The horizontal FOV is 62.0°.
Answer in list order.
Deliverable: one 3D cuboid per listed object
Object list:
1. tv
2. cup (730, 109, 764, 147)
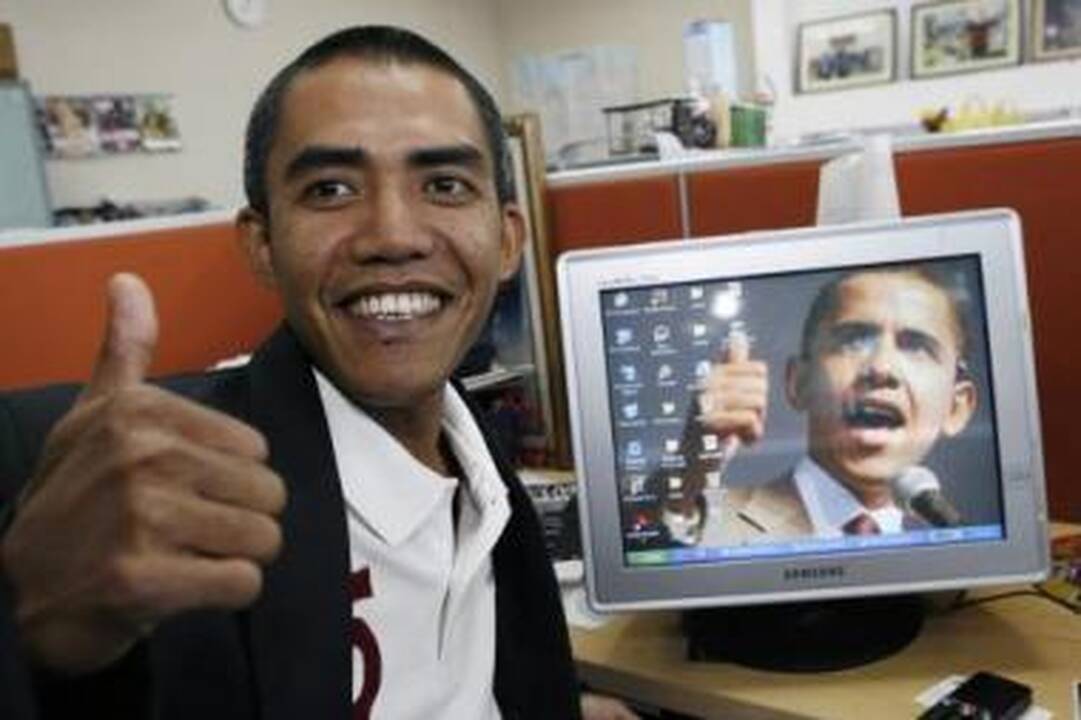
[{"bbox_3d":[0.418,0.138,1.405,0.691,0.644,0.365,-6,-3,3],"label":"tv"},{"bbox_3d":[0.530,-0.607,2.317,0.064,0.078,0.115,3,10,31],"label":"cup"}]
